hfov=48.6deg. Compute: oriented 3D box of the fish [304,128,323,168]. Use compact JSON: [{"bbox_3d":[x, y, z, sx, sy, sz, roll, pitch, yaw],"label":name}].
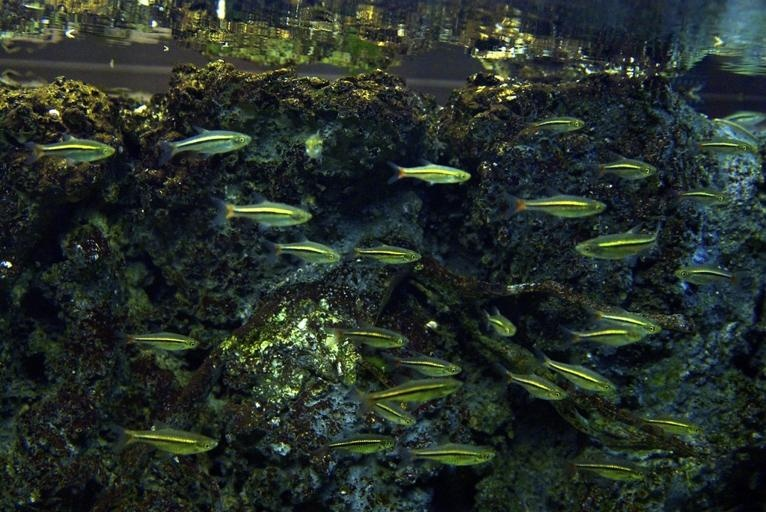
[{"bbox_3d":[-1.044,-1.672,12.843,0.348,0.359,0.106,18,6,9],"label":"fish"}]
